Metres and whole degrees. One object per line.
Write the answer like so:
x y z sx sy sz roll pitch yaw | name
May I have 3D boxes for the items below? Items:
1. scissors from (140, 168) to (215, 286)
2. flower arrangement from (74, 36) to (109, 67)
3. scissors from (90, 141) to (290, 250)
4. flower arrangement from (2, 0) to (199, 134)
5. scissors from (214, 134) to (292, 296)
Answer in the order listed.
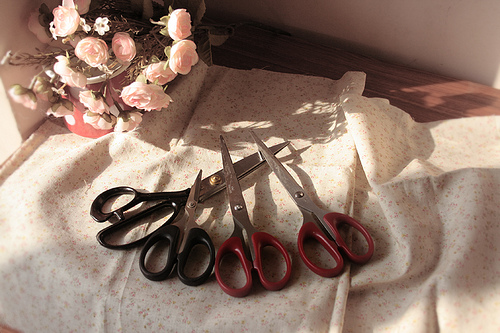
-0.129 0.114 0.843 0.138 0.022 0.299 6 41 1 | scissors
-0.298 -0.222 0.789 0.052 0.042 0.045 13 65 6 | flower arrangement
-0.138 0.070 0.896 0.369 0.039 0.139 -24 50 -20 | scissors
-0.284 -0.267 0.855 0.335 0.296 0.165 -13 68 -29 | flower arrangement
-0.025 0.080 0.857 0.142 0.044 0.378 -9 53 -9 | scissors
